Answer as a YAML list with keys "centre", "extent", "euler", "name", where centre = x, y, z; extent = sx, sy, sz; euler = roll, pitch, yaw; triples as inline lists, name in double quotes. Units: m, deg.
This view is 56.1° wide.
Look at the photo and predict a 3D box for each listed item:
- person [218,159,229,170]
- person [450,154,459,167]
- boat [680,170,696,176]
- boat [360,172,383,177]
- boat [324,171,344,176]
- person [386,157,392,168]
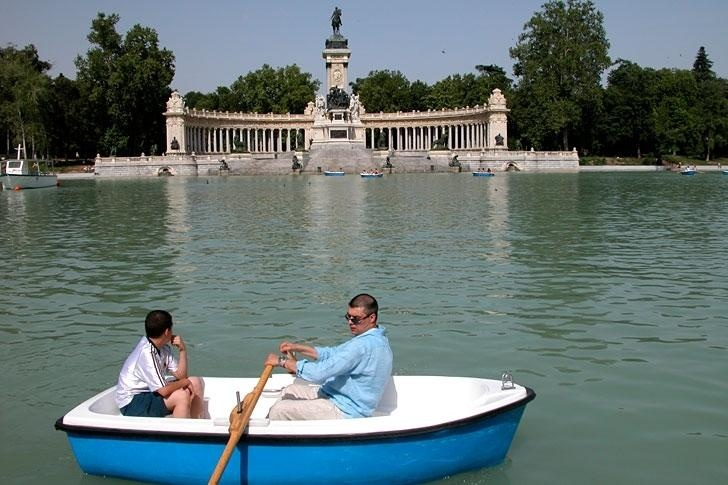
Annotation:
- centre: [-15.680, -8.572, 75.712]
  extent: [1.366, 1.442, 1.141]
  euler: [3, 12, 7]
  name: "person"
- centre: [10.505, -9.444, 79.323]
  extent: [1.173, 1.360, 1.329]
  euler: [0, 4, 13]
  name: "person"
- centre: [32.230, -6.911, 68.260]
  extent: [1.156, 0.522, 1.509]
  euler: [-1, 10, 0]
  name: "boat"
- centre: [0.578, -6.329, 64.391]
  extent: [1.734, 0.617, 2.350]
  euler: [-1, 4, 3]
  name: "boat"
- centre: [-2.995, -6.928, 68.997]
  extent: [1.396, 0.285, 0.796]
  euler: [-2, 9, 0]
  name: "boat"
- centre: [2.653, -8.557, 73.752]
  extent: [0.756, 1.129, 1.415]
  euler: [-1, 4, 3]
  name: "person"
